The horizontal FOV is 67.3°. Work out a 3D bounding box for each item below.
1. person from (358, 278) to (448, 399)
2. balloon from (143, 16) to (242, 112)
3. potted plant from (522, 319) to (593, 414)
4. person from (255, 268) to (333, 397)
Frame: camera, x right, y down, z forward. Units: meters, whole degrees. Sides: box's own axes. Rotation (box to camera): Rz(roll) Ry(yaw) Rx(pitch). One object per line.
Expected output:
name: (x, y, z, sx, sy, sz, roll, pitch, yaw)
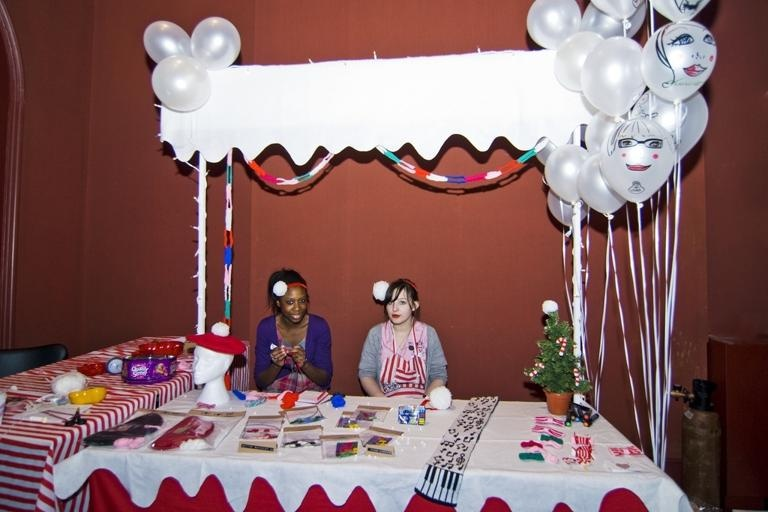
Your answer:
person: (0.112, 0.610, 3.788, 0.567, 0.877, 0.497, 1, 15, 9)
balloon: (-1.211, -1.240, 3.653, 0.562, 0.612, 0.270, 4, -15, -12)
potted plant: (0.969, 0.577, 3.332, 0.438, 0.741, 0.467, 1, 6, 18)
person: (-0.590, 0.551, 3.775, 0.487, 0.889, 0.475, 0, 13, -6)
